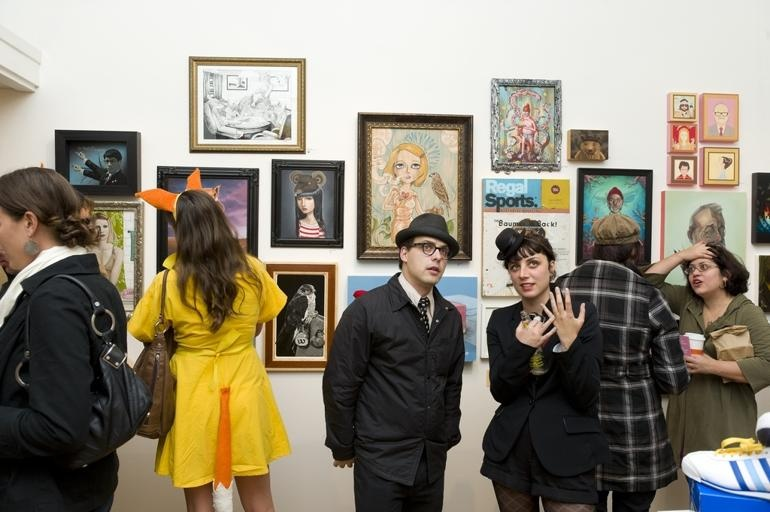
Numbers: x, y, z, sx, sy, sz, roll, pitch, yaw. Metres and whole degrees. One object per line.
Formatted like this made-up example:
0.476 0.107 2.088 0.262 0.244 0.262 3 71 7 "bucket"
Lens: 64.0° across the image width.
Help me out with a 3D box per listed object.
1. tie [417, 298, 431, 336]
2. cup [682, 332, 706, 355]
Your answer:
0.245 0.346 3.709 0.105 0.187 0.041 6 -8 -43 "tie"
2.053 0.582 4.114 0.137 0.123 0.129 -2 -4 0 "cup"
